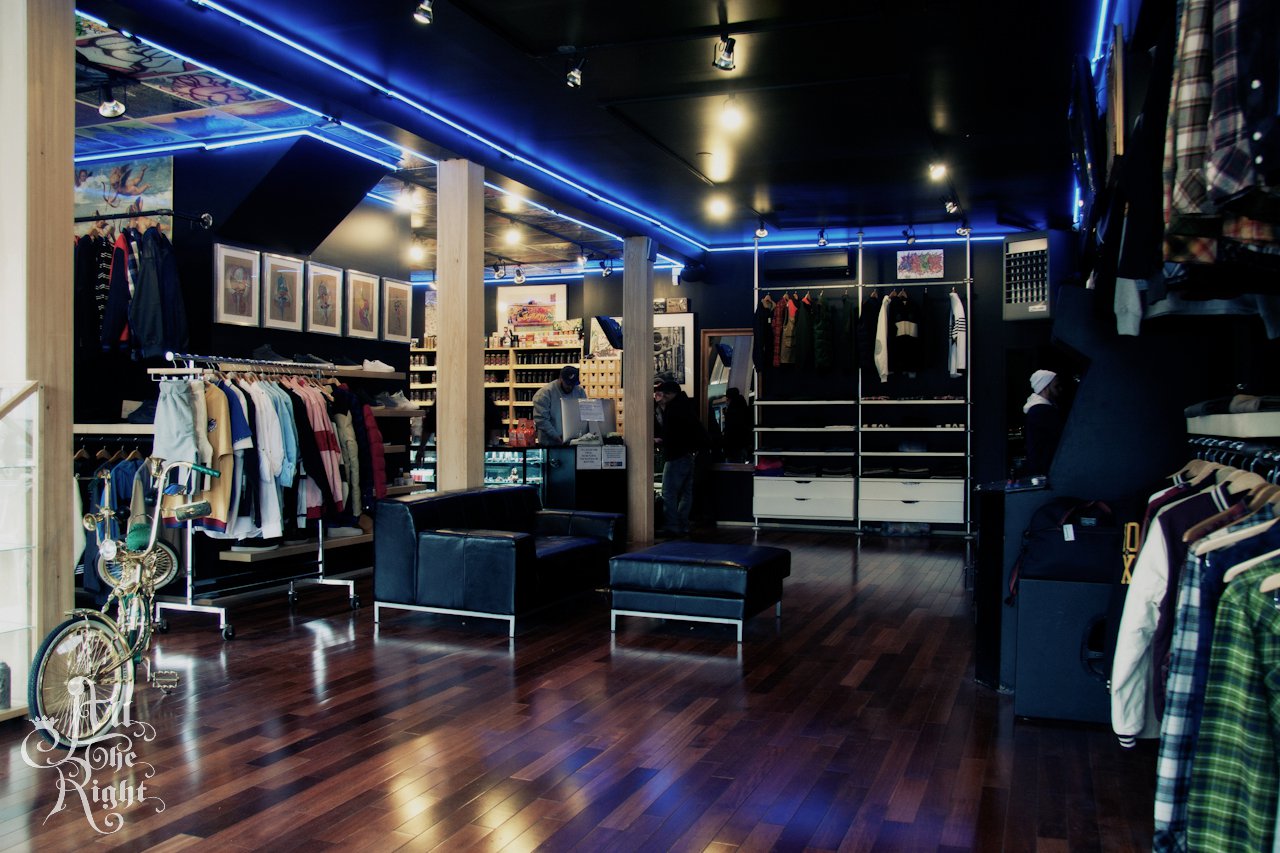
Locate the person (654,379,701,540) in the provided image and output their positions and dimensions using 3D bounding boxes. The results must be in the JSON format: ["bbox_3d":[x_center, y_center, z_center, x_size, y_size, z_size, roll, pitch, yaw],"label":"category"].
[{"bbox_3d":[0.479,0.363,12.355,0.499,1.934,0.601,1,5,9],"label":"person"}]

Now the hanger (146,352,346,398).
[{"bbox_3d":[-3.307,-0.470,7.923,0.984,0.277,1.731,3,5,26],"label":"hanger"}]

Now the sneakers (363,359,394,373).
[{"bbox_3d":[-2.488,-0.591,9.320,0.363,0.142,0.120,-1,2,-13],"label":"sneakers"}]

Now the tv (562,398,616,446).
[{"bbox_3d":[-0.590,-0.084,11.032,0.610,0.486,0.617,0,5,-10],"label":"tv"}]

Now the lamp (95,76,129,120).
[{"bbox_3d":[-4.103,-2.539,7.425,0.239,0.261,0.237,-1,2,-8],"label":"lamp"}]

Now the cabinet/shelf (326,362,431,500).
[{"bbox_3d":[-2.473,0.060,9.011,0.782,1.240,1.516,0,-2,17],"label":"cabinet/shelf"}]

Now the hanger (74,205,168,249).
[{"bbox_3d":[-4.573,-1.771,8.387,1.158,0.265,0.313,2,5,18],"label":"hanger"}]

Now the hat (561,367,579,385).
[{"bbox_3d":[-0.795,-0.583,11.156,0.171,0.212,0.199,4,-5,-13],"label":"hat"}]

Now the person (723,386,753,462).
[{"bbox_3d":[1.319,-0.040,13.112,0.393,0.946,0.197,1,5,4],"label":"person"}]

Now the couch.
[{"bbox_3d":[-1.168,0.982,7.727,1.268,0.953,1.630,3,5,23],"label":"couch"}]

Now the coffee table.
[{"bbox_3d":[0.475,1.242,7.140,0.858,0.545,0.860,-1,-2,22],"label":"coffee table"}]
